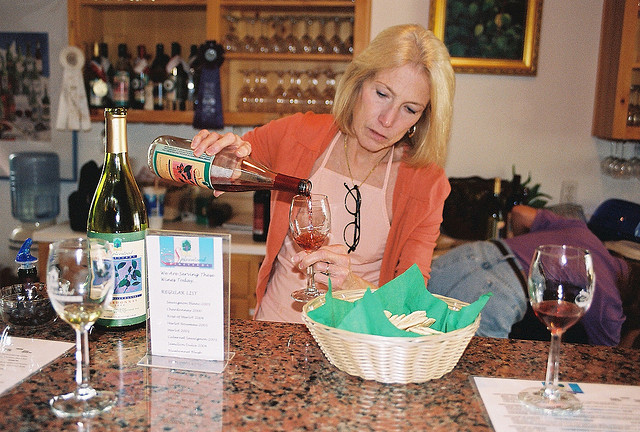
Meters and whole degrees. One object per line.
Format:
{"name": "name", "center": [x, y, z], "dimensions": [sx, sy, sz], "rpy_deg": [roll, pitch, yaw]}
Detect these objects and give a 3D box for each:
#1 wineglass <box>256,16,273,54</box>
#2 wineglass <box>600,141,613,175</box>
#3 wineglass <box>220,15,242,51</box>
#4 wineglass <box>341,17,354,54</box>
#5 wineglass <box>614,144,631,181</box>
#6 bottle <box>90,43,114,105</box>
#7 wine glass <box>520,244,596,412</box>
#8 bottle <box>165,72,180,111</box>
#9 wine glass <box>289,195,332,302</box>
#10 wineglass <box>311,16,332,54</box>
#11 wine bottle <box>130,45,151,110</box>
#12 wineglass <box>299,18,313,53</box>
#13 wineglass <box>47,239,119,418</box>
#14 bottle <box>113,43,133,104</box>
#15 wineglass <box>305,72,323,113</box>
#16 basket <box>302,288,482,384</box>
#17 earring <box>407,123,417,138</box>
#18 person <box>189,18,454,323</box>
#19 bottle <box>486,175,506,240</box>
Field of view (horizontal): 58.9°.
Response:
{"name": "wineglass", "center": [-0.359, -1.151, 3.607], "dimensions": [0.088, 0.246, 0.233], "rpy_deg": [-1, 10, -16]}
{"name": "wineglass", "center": [1.855, -0.382, 3.697], "dimensions": [0.048, 0.190, 0.097], "rpy_deg": [9, -4, 3]}
{"name": "wineglass", "center": [-0.579, -1.158, 3.586], "dimensions": [0.134, 0.226, 0.137], "rpy_deg": [-3, 10, -27]}
{"name": "wineglass", "center": [0.173, -1.138, 3.576], "dimensions": [0.076, 0.237, 0.230], "rpy_deg": [2, 9, 2]}
{"name": "wineglass", "center": [1.959, -0.342, 3.668], "dimensions": [0.097, 0.224, 0.052], "rpy_deg": [6, 10, 27]}
{"name": "bottle", "center": [-1.400, -0.911, 3.627], "dimensions": [0.127, 0.386, 0.116], "rpy_deg": [-3, 10, -28]}
{"name": "wine glass", "center": [0.627, 0.297, 1.505], "dimensions": [0.163, 0.418, 0.159], "rpy_deg": [5, 10, 25]}
{"name": "bottle", "center": [-0.950, -0.798, 3.630], "dimensions": [0.092, 0.226, 0.047], "rpy_deg": [1, 9, -4]}
{"name": "wine glass", "center": [-0.037, 0.114, 2.003], "dimensions": [0.141, 0.382, 0.314], "rpy_deg": [1, 9, -1]}
{"name": "wineglass", "center": [0.006, -1.146, 3.583], "dimensions": [0.121, 0.250, 0.211], "rpy_deg": [1, 9, -1]}
{"name": "wine bottle", "center": [-1.162, -0.896, 3.658], "dimensions": [0.128, 0.409, 0.158], "rpy_deg": [-2, 9, -18]}
{"name": "wineglass", "center": [-0.087, -1.141, 3.591], "dimensions": [0.074, 0.233, 0.196], "rpy_deg": [1, 9, -3]}
{"name": "wineglass", "center": [-0.617, 0.271, 1.506], "dimensions": [0.176, 0.434, 0.251], "rpy_deg": [0, 9, -10]}
{"name": "bottle", "center": [-1.258, -0.904, 3.629], "dimensions": [0.115, 0.429, 0.118], "rpy_deg": [3, 5, 0]}
{"name": "wineglass", "center": [-0.014, -0.811, 3.633], "dimensions": [0.122, 0.234, 0.132], "rpy_deg": [-10, 1, -14]}
{"name": "basket", "center": [0.225, 0.357, 1.736], "dimensions": [0.505, 0.196, 0.552], "rpy_deg": [3, 5, 0]}
{"name": "earring", "center": [0.380, -0.355, 2.351], "dimensions": [0.033, 0.050, 0.017], "rpy_deg": [2, -9, 17]}
{"name": "person", "center": [0.055, -0.127, 2.156], "dimensions": [0.843, 1.213, 0.713], "rpy_deg": [4, 9, 14]}
{"name": "bottle", "center": [1.092, 0.030, 3.467], "dimensions": [0.110, 0.523, 0.116], "rpy_deg": [-4, 12, 1]}
